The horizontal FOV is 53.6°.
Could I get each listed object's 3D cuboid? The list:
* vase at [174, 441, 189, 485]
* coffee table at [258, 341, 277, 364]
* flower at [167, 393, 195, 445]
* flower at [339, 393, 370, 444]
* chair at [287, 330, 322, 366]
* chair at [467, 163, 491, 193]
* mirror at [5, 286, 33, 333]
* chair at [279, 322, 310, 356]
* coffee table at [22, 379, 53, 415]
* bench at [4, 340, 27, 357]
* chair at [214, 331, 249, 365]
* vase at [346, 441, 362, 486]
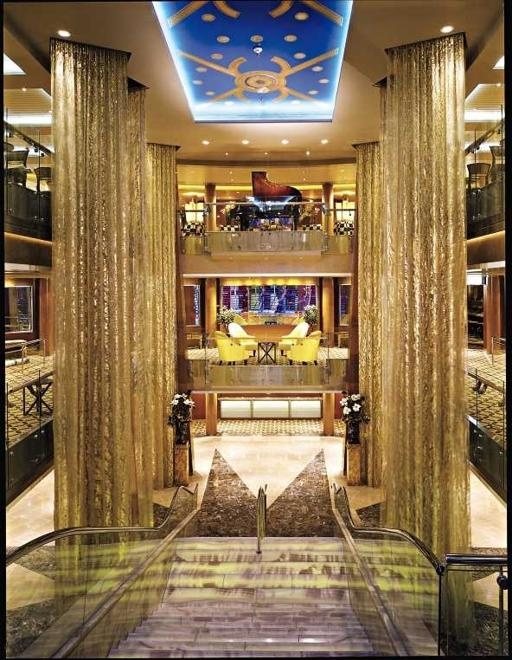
[{"bbox_3d":[-1.696,3.024,11.399,0.294,0.963,0.888,-1,-2,0],"label":"vase"},{"bbox_3d":[0.290,0.679,13.616,0.380,0.406,0.791,0,1,1],"label":"coffee table"},{"bbox_3d":[-1.670,2.055,11.424,0.523,1.208,0.685,-1,1,-8],"label":"flower"},{"bbox_3d":[2.186,2.028,11.312,0.774,1.169,0.768,12,-13,-39],"label":"flower"},{"bbox_3d":[1.201,0.473,12.852,0.798,0.883,0.657,3,6,16],"label":"chair"},{"bbox_3d":[3.004,-2.069,6.874,0.253,0.428,0.292,3,6,30],"label":"chair"},{"bbox_3d":[-8.173,-0.667,17.585,0.847,1.616,0.362,-1,1,-23],"label":"mirror"},{"bbox_3d":[1.096,0.253,13.652,0.872,1.074,0.730,-3,8,-20],"label":"chair"},{"bbox_3d":[-3.509,1.141,8.174,0.330,0.574,1.414,-1,2,-14],"label":"coffee table"},{"bbox_3d":[-4.580,0.377,9.662,0.453,0.347,0.428,0,-12,-43],"label":"bench"},{"bbox_3d":[-0.646,0.495,13.331,0.783,0.941,0.675,0,5,-13],"label":"chair"},{"bbox_3d":[2.134,3.007,11.334,0.405,0.876,0.411,0,1,31],"label":"vase"}]
